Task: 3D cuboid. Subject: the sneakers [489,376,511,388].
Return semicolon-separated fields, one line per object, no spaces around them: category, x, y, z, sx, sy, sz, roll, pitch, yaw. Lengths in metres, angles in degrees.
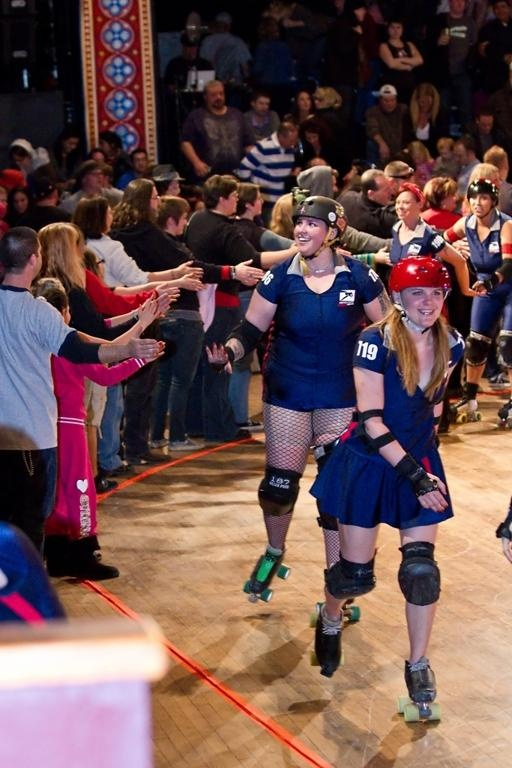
sneakers;3.449;-0.018;8.831;0.125;0.156;0.373;-2;-2;41

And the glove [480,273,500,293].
glove;2.555;-1.102;6.817;0.263;0.092;0.194;-32;-14;26

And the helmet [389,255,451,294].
helmet;0.711;-0.474;2.748;0.175;0.153;0.207;0;20;-16

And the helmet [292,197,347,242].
helmet;0.362;-0.907;3.470;0.290;0.239;0.229;-11;17;-22

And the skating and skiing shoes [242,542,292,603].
skating and skiing shoes;0.046;1.148;3.722;0.232;0.185;0.412;19;24;12

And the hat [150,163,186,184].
hat;-0.982;-2.411;7.112;0.298;0.106;0.235;-12;9;-38

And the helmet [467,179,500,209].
helmet;2.496;-2.118;6.895;0.316;0.292;0.264;2;14;16

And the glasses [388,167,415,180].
glasses;1.844;-2.662;7.910;0.281;0.101;0.205;-2;19;4

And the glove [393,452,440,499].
glove;0.676;0.393;2.683;0.204;0.134;0.075;46;-2;10

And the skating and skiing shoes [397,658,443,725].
skating and skiing shoes;0.721;1.354;2.752;0.176;0.338;0.116;2;14;14

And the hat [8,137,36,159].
hat;-3.407;-3.482;9.214;0.309;0.260;0.310;10;17;42

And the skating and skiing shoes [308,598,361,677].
skating and skiing shoes;0.416;1.273;3.242;0.228;0.393;0.187;-1;-8;-5

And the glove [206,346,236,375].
glove;-0.194;-0.152;3.587;0.148;0.168;0.186;-2;13;-3
